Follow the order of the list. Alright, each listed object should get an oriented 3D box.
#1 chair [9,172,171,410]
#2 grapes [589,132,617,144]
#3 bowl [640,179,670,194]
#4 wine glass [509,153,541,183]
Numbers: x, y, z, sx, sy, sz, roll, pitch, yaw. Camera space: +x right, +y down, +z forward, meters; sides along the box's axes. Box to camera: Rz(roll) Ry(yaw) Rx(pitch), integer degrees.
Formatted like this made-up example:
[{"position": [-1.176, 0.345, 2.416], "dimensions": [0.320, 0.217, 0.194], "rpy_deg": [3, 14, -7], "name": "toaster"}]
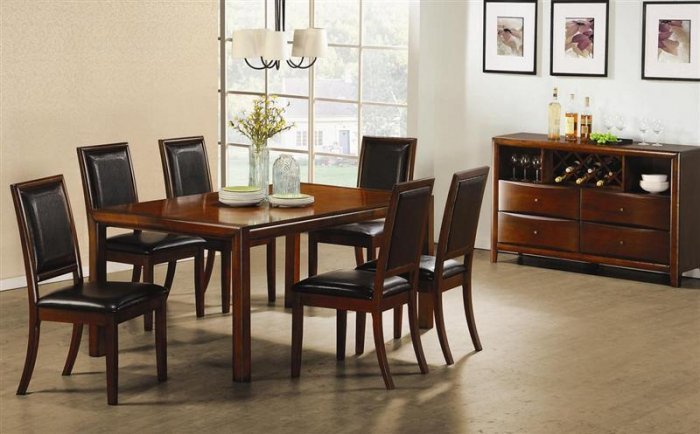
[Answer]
[{"position": [-1.582, 0.418, 3.206], "dimensions": [0.800, 1.252, 0.584], "rpy_deg": [5, 15, 20], "name": "chair"}, {"position": [2.521, -0.780, 5.384], "dimensions": [0.206, 0.103, 0.236], "rpy_deg": [-2, 12, -7], "name": "grapes"}, {"position": [2.876, -0.287, 5.138], "dimensions": [0.174, 0.062, 0.160], "rpy_deg": [1, -1, 0], "name": "bowl"}, {"position": [1.875, -0.527, 5.811], "dimensions": [0.335, 0.283, 0.169], "rpy_deg": [6, 16, 37], "name": "wine glass"}]
